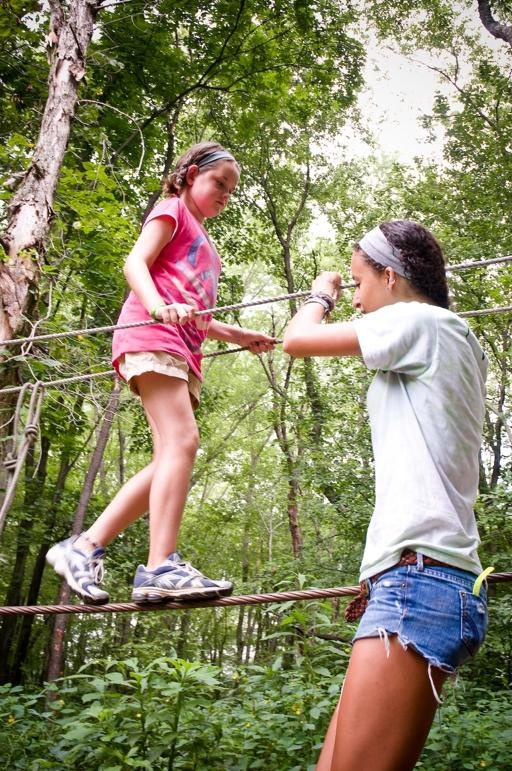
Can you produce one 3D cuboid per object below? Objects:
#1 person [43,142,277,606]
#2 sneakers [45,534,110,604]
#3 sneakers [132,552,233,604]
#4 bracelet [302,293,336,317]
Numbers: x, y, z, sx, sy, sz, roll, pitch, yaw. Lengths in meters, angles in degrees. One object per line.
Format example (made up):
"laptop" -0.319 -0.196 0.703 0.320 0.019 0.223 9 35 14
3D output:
"person" -0.298 -0.101 2.344 0.914 1.653 0.600 -2 -16 4
"sneakers" -0.576 0.620 2.238 0.270 0.210 0.134 -6 -27 35
"sneakers" -0.242 0.602 2.084 0.302 0.126 0.119 -6 -19 16
"bracelet" 0.174 -0.221 1.820 0.071 0.038 0.078 17 4 -6
